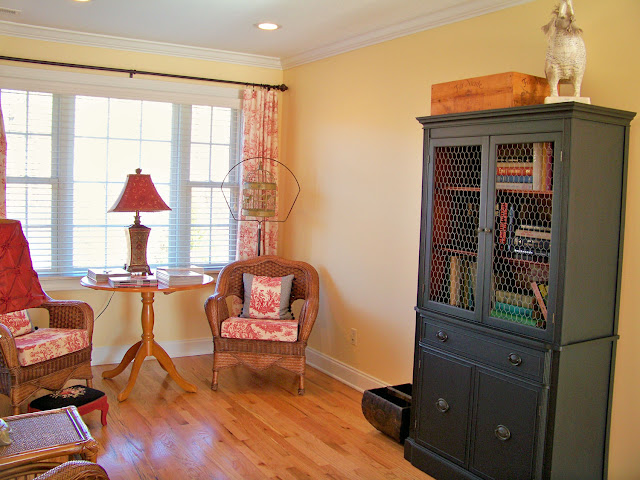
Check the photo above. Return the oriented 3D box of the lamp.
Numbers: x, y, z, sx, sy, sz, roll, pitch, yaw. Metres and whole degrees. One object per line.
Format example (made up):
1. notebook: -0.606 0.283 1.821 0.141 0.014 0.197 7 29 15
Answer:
1. lamp: -1.526 -0.180 4.366 0.462 0.853 0.465 -5 11 -44

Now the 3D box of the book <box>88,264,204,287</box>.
1. book: -1.407 0.281 4.231 0.883 0.097 0.415 -1 8 -24

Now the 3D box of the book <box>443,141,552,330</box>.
1. book: 1.076 -0.046 2.783 0.074 0.957 0.400 -5 10 -41

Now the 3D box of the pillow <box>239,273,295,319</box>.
1. pillow: -0.474 0.487 4.595 0.394 0.333 0.148 2 -25 0

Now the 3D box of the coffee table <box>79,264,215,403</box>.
1. coffee table: -1.445 0.734 4.451 1.039 0.857 1.051 1 3 -20

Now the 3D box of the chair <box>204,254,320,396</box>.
1. chair: -0.490 0.706 4.582 0.935 1.044 0.684 2 2 3
